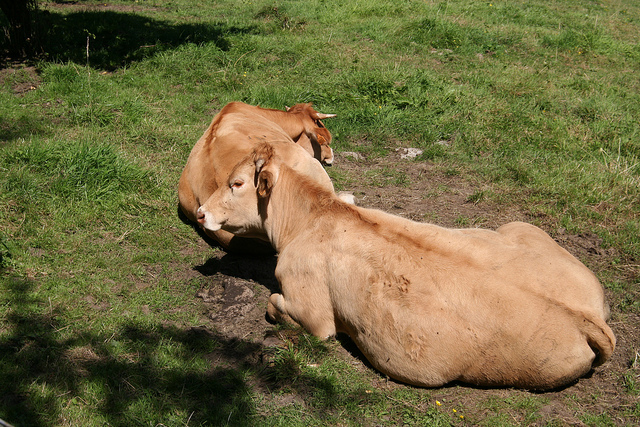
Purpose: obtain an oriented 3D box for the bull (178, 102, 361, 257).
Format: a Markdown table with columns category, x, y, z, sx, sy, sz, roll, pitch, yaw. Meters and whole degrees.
| category | x | y | z | sx | sy | sz | roll | pitch | yaw |
| --- | --- | --- | --- | --- | --- | --- | --- | --- | --- |
| bull | -1.470 | -0.434 | 11.293 | 2.553 | 1.457 | 1.524 | -10 | 5 | 34 |
